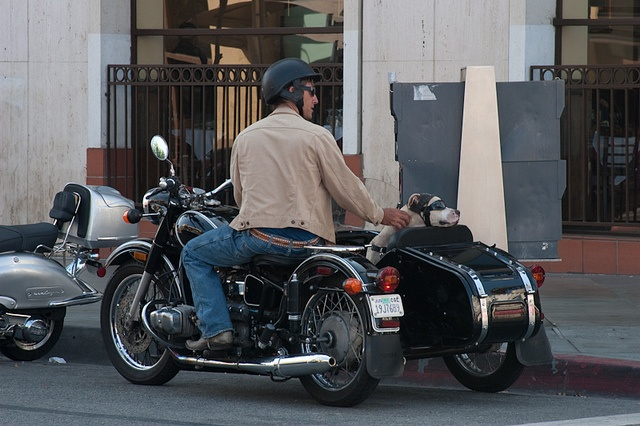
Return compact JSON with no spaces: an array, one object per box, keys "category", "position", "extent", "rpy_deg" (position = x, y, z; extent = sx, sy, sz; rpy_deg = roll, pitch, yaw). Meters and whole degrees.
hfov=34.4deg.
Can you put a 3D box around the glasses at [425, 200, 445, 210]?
[{"category":"glasses","position":[1.233,-0.059,10.859],"extent":[0.102,0.079,0.129],"rpy_deg":[5,-16,-43]}]

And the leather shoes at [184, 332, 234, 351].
[{"category":"leather shoes","position":[-1.109,1.280,10.494],"extent":[0.527,0.259,0.184],"rpy_deg":[4,6,33]}]
